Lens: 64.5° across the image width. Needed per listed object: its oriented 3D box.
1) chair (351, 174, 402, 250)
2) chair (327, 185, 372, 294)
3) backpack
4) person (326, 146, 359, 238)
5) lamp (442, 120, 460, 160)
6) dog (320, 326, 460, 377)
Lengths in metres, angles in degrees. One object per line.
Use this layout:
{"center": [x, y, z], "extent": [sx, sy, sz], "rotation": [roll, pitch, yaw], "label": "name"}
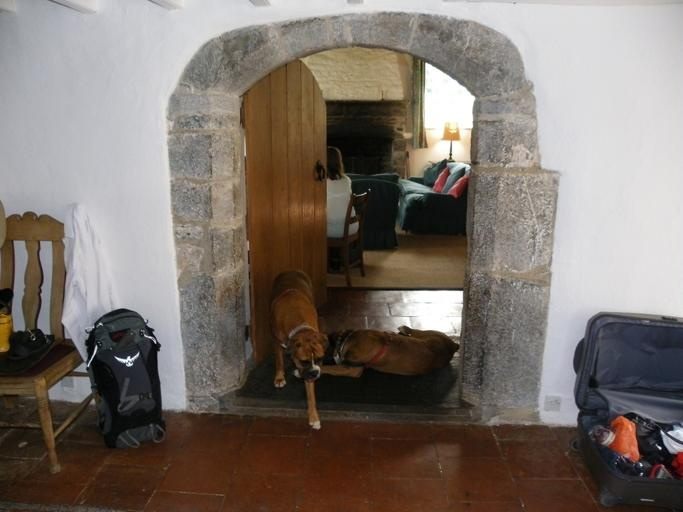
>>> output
{"center": [0.291, -0.522, 6.638], "extent": [0.587, 0.983, 0.755], "rotation": [-5, 7, -44], "label": "chair"}
{"center": [-0.040, -0.188, 5.259], "extent": [0.598, 0.857, 0.567], "rotation": [10, 17, 37], "label": "chair"}
{"center": [-1.208, 0.664, 3.056], "extent": [0.430, 0.677, 0.240], "rotation": [-9, 8, -23], "label": "backpack"}
{"center": [-0.027, -0.588, 5.079], "extent": [0.225, 0.833, 0.156], "rotation": [-2, 7, -17], "label": "person"}
{"center": [1.915, -1.994, 9.474], "extent": [0.317, 0.636, 0.492], "rotation": [2, 7, 12], "label": "lamp"}
{"center": [0.304, 0.595, 3.459], "extent": [0.620, 0.207, 0.407], "rotation": [2, 20, 0], "label": "dog"}
